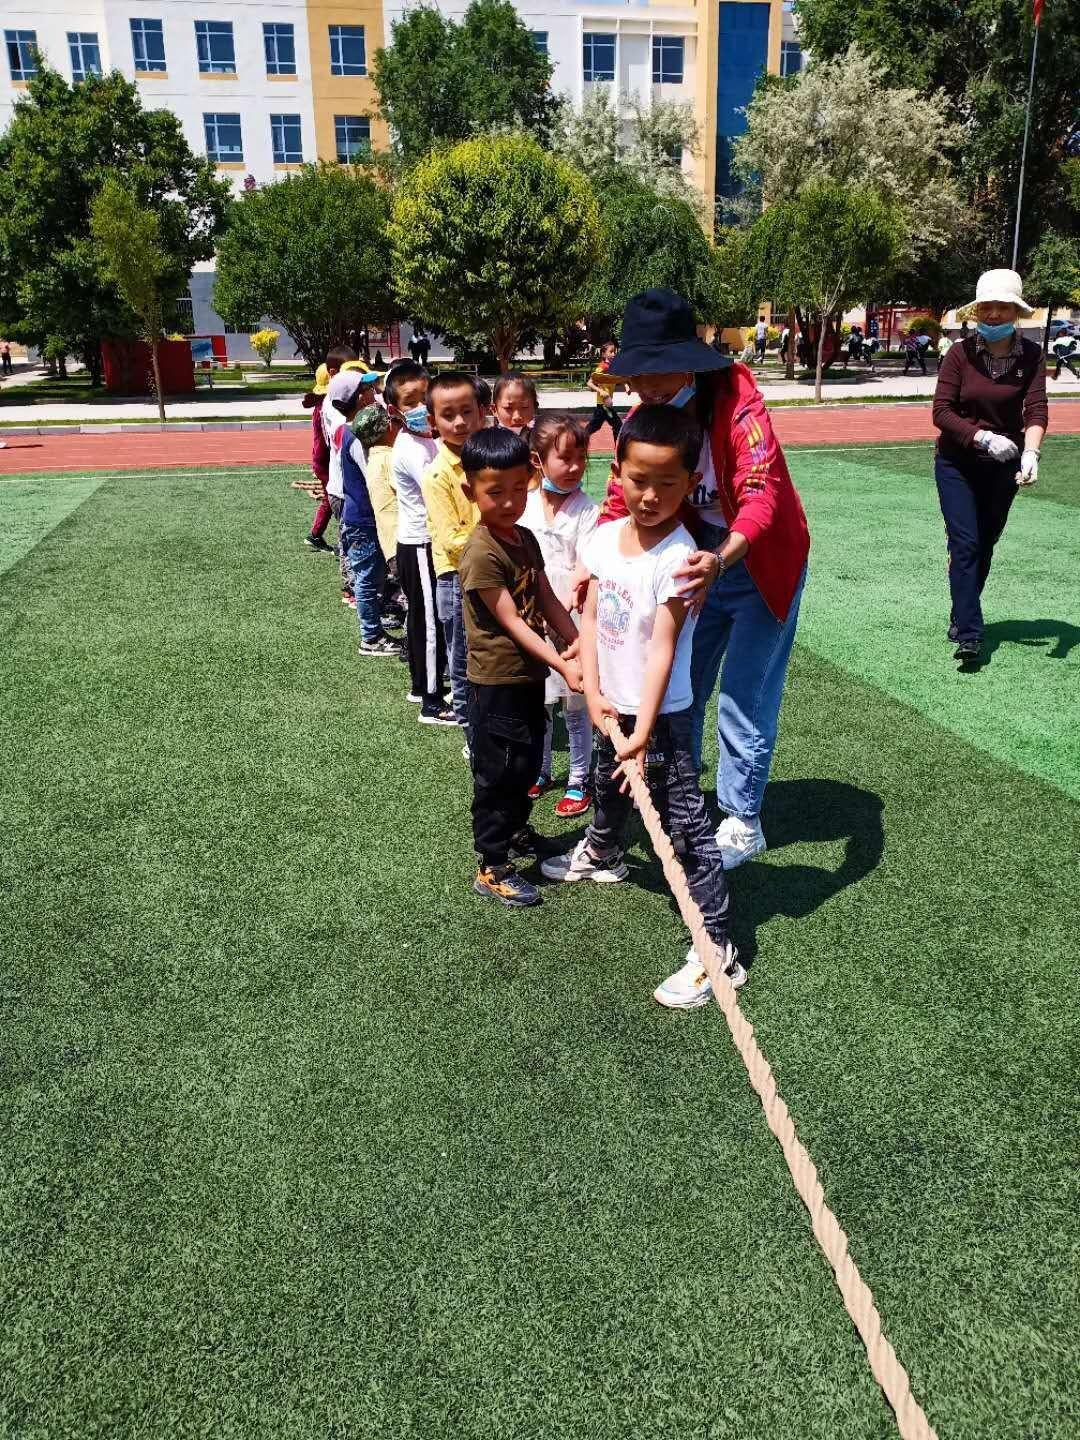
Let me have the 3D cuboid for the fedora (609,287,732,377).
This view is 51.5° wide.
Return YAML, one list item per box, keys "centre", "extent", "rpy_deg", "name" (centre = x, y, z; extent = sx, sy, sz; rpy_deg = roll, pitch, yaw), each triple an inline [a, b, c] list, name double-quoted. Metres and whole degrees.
- centre: [0.301, -0.873, 2.565]
  extent: [0.239, 0.152, 0.234]
  rpy_deg: [-18, 24, -37]
  name: "fedora"

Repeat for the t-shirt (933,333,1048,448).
- centre: [2.158, -1.584, 5.354]
  extent: [0.500, 0.591, 0.364]
  rpy_deg: [6, 15, 8]
  name: "t-shirt"

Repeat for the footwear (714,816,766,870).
- centre: [0.601, 0.375, 3.343]
  extent: [0.164, 0.162, 0.097]
  rpy_deg: [-12, 23, -19]
  name: "footwear"

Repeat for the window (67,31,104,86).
- centre: [-17.317, -25.314, 42.466]
  extent: [1.275, 1.517, 0.491]
  rpy_deg: [0, 18, 8]
  name: "window"

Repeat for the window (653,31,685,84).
- centre: [5.465, -28.347, 47.525]
  extent: [1.883, 2.047, 0.104]
  rpy_deg: [-4, 15, -4]
  name: "window"

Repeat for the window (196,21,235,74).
- centre: [-12.455, -25.936, 42.811]
  extent: [1.750, 2.164, 0.171]
  rpy_deg: [2, 27, 2]
  name: "window"

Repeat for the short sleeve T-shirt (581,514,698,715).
- centre: [0.237, -0.245, 2.672]
  extent: [0.177, 0.439, 0.378]
  rpy_deg: [-19, 27, -30]
  name: "short sleeve T-shirt"

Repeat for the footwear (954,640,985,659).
- centre: [2.079, -0.339, 5.404]
  extent: [0.074, 0.089, 0.183]
  rpy_deg: [1, 12, 7]
  name: "footwear"

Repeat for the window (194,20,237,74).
- centre: [-12.452, -25.963, 42.803]
  extent: [1.887, 2.317, 0.160]
  rpy_deg: [3, 33, 3]
  name: "window"

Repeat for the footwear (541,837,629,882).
- centre: [0.132, 0.424, 3.387]
  extent: [0.277, 0.132, 0.117]
  rpy_deg: [3, 5, 1]
  name: "footwear"

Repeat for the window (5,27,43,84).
- centre: [-19.435, -24.929, 41.892]
  extent: [1.099, 1.827, 0.647]
  rpy_deg: [-8, 19, -17]
  name: "window"
